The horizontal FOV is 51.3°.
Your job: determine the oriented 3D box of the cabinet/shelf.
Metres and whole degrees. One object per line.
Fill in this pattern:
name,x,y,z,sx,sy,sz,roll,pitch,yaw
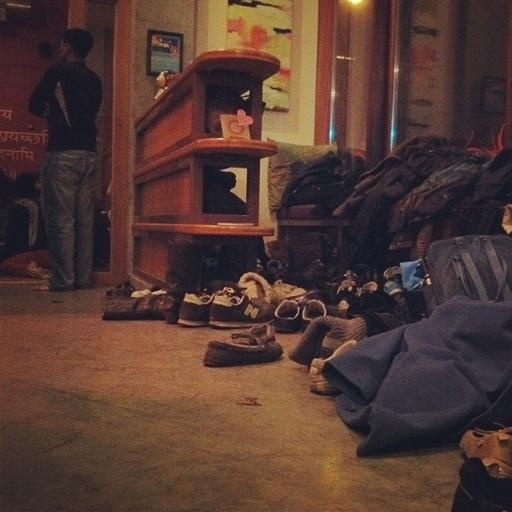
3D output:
cabinet/shelf,-0.405,-0.502,3.380,0.513,1.214,1.943,-1,2,-18

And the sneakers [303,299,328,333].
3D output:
sneakers,0.266,0.262,2.387,0.096,0.153,0.149,-1,-1,29

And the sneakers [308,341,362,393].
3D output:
sneakers,0.233,0.380,1.831,0.273,0.113,0.092,-3,5,-39

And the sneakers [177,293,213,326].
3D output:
sneakers,-0.324,0.287,2.803,0.099,0.114,0.258,3,2,18

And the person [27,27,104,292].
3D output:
person,-1.473,-0.618,4.160,0.529,1.771,0.265,0,6,-17

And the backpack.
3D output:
backpack,0.438,-0.583,4.238,0.489,0.486,0.441,2,5,7

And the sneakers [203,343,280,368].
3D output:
sneakers,-0.055,0.374,2.149,0.303,0.103,0.111,-2,3,-27

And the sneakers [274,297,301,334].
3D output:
sneakers,0.156,0.305,2.674,0.104,0.086,0.188,0,9,3
